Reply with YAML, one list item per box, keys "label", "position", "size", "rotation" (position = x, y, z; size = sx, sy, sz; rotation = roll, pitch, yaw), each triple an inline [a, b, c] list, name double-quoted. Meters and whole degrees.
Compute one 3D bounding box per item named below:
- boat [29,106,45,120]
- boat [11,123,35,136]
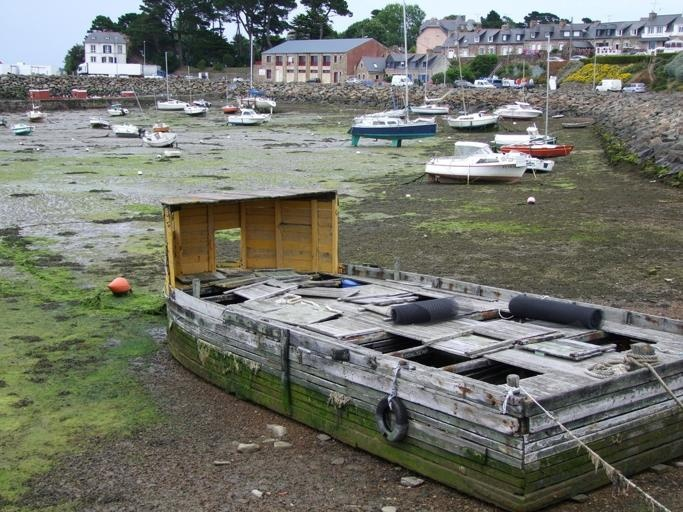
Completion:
- label: "boat"
  position: [-33.618, -14.518, 61.204]
  size: [1.331, 1.012, 1.550]
  rotation: [-4, 13, -18]
- label: "boat"
  position: [-27.949, -10.285, 48.230]
  size: [3.465, 0.798, 1.239]
  rotation: [6, 23, 43]
